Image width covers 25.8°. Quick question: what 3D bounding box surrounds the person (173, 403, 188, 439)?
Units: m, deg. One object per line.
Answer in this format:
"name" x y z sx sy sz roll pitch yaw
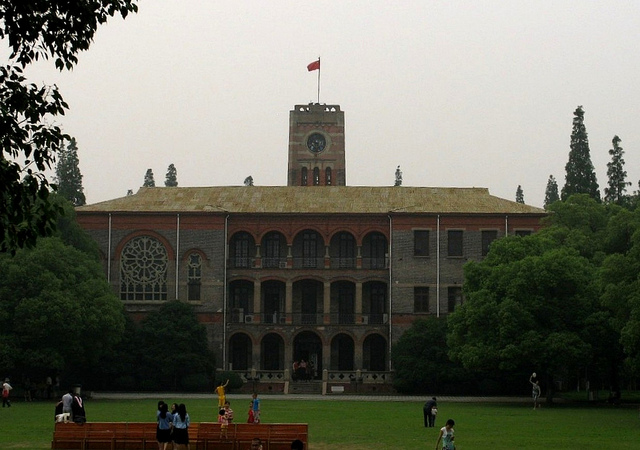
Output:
"person" -6.725 9.494 67.242 0.710 1.644 0.610 1 -10 -8

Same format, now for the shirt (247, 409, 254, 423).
"shirt" -3.691 10.245 74.718 0.302 0.717 0.768 0 -9 -3

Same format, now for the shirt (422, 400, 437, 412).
"shirt" 6.185 10.137 78.284 0.627 0.618 0.861 0 -9 1

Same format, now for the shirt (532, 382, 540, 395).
"shirt" 13.741 10.429 88.486 0.220 0.688 0.712 -3 -10 16

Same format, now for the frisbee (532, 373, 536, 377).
"frisbee" 13.988 9.779 90.768 0.234 0.188 0.260 8 1 3

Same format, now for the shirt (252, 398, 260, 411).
"shirt" -3.473 9.687 75.081 0.327 0.644 0.509 2 -10 -12

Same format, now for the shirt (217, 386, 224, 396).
"shirt" -5.518 9.286 77.891 0.317 0.539 0.724 1 -9 -7

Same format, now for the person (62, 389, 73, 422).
"person" -13.013 9.302 71.801 0.515 1.641 1.343 2 -10 -11

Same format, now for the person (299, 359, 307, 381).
"person" -1.299 10.987 104.668 0.470 1.435 0.524 0 -10 -1

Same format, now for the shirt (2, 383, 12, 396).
"shirt" -19.658 10.311 87.352 0.327 0.818 1.065 2 -10 -14

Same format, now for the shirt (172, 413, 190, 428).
"shirt" -6.733 9.557 67.490 1.112 0.987 0.608 1 -6 3

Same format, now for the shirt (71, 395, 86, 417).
"shirt" -12.461 9.344 71.835 0.915 1.367 1.214 0 -3 -5

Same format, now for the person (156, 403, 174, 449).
"person" -7.547 9.812 67.587 0.656 2.135 0.843 3 -10 -16
